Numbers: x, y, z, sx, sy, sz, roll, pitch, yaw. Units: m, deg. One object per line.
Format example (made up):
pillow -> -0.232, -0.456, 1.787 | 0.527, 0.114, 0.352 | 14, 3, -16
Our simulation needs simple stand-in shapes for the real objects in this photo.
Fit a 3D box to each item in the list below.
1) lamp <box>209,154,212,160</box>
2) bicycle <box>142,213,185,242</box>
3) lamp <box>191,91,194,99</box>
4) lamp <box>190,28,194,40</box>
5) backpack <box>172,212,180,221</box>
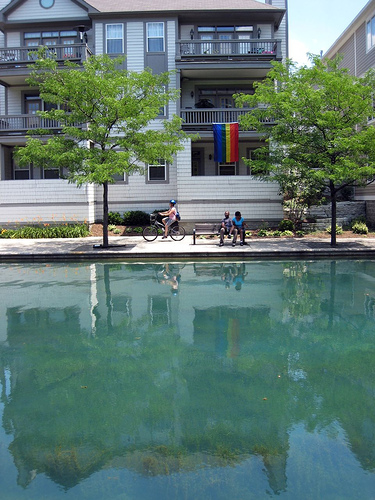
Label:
lamp -> 1.218, -4.321, 24.021 | 0.118, 0.221, 0.040 | 0, 6, 5
bicycle -> -0.915, -0.866, 20.183 | 1.830, 1.133, 0.888 | 0, 2, -4
lamp -> 0.350, -7.121, 23.778 | 0.119, 0.307, 0.088 | -1, 6, -2
lamp -> 0.325, -9.818, 23.534 | 0.158, 0.490, 0.115 | 3, 7, 29
backpack -> -0.323, -1.168, 18.280 | 0.182, 0.325, 0.252 | -14, 14, -8
